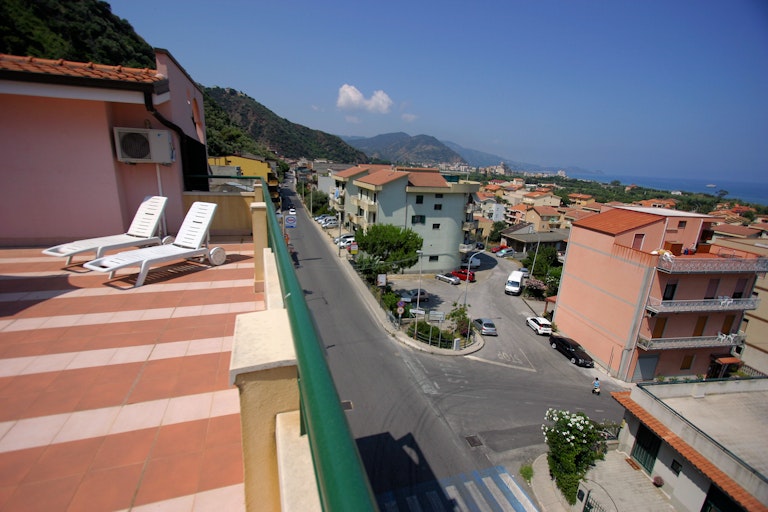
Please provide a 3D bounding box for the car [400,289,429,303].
[{"bbox_3d":[2.137,2.814,29.990,1.725,0.710,1.028,5,1,-14],"label":"car"}]

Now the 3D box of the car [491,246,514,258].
[{"bbox_3d":[13.989,-0.404,49.482,2.053,0.871,1.221,-1,6,-20],"label":"car"}]

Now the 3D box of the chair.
[{"bbox_3d":[-5.829,-0.565,10.331,2.505,1.597,3.103,26,26,37],"label":"chair"}]

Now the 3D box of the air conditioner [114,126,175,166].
[{"bbox_3d":[-6.601,-3.201,11.656,1.713,1.147,0.861,-1,7,-21],"label":"air conditioner"}]

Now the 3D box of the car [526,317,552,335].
[{"bbox_3d":[10.144,4.542,27.440,1.002,0.855,1.746,0,22,-24],"label":"car"}]

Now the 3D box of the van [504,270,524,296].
[{"bbox_3d":[11.017,2.296,35.749,1.334,1.023,2.676,1,4,23],"label":"van"}]

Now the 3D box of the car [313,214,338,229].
[{"bbox_3d":[-6.697,-4.022,50.712,1.779,0.735,2.564,15,20,33],"label":"car"}]
